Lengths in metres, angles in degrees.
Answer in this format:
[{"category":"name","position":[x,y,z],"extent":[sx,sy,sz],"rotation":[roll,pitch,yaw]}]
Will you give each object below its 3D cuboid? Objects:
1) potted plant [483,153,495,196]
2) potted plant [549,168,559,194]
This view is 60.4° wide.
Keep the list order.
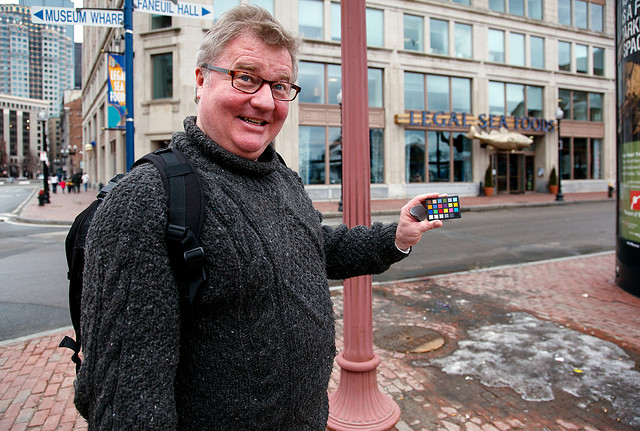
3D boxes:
[{"category":"potted plant","position":[8.816,-2.129,28.675],"extent":[0.432,2.200,1.214],"rotation":[0,5,19]},{"category":"potted plant","position":[12.686,-1.850,29.782],"extent":[0.402,1.361,0.973],"rotation":[1,5,22]}]
